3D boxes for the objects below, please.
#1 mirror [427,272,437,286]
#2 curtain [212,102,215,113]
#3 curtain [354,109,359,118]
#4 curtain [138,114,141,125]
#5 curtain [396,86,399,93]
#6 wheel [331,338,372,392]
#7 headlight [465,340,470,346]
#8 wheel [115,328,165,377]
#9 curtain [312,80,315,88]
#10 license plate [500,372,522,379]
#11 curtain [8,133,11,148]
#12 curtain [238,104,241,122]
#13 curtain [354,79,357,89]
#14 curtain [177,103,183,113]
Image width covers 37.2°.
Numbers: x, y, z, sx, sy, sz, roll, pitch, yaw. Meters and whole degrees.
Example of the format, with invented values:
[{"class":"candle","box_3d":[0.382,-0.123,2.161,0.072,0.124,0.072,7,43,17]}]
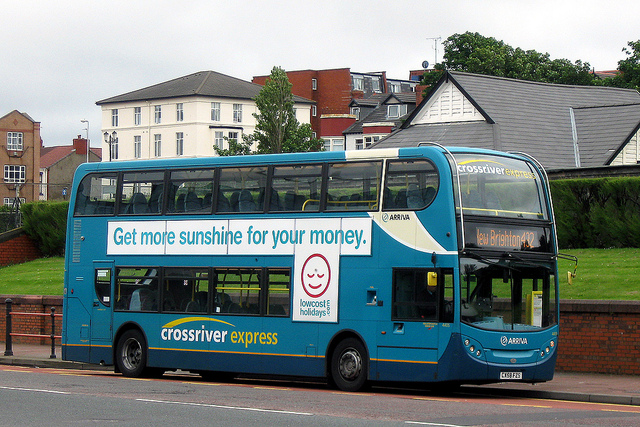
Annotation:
[{"class":"mirror","box_3d":[2.784,1.621,23.715,0.278,0.410,0.277,1,-1,8]},{"class":"curtain","box_3d":[-11.882,-11.853,104.733,0.270,0.901,0.194,2,-6,-29]},{"class":"curtain","box_3d":[4.035,-11.444,107.713,0.274,1.075,1.155,1,-6,-23]},{"class":"curtain","box_3d":[-20.590,-10.730,107.594,0.501,1.175,0.091,-4,-6,36]},{"class":"curtain","box_3d":[10.793,-17.613,133.512,0.285,0.889,0.821,-3,-6,22]},{"class":"wheel","box_3d":[0.816,3.903,24.619,1.384,1.579,0.557,0,-1,34]},{"class":"headlight","box_3d":[3.603,3.186,23.492,0.138,0.142,0.035,3,-5,6]},{"class":"wheel","box_3d":[-5.245,3.991,27.581,1.356,1.400,0.530,5,3,33]},{"class":"curtain","box_3d":[-0.949,-16.104,117.184,0.117,1.001,0.538,-2,-5,18]},{"class":"license plate","box_3d":[4.755,4.046,23.780,0.643,0.175,0.028,2,-5,-22]},{"class":"curtain","box_3d":[-38.173,-9.036,116.440,0.318,1.756,0.401,-5,-6,42]},{"class":"curtain","box_3d":[-9.168,-11.441,106.582,0.288,1.504,0.708,0,-5,-5]},{"class":"curtain","box_3d":[4.492,-16.585,121.129,0.213,1.264,0.451,-4,-6,36]},{"class":"curtain","box_3d":[-15.574,-11.741,104.677,0.840,0.829,0.479,1,-3,13]}]
